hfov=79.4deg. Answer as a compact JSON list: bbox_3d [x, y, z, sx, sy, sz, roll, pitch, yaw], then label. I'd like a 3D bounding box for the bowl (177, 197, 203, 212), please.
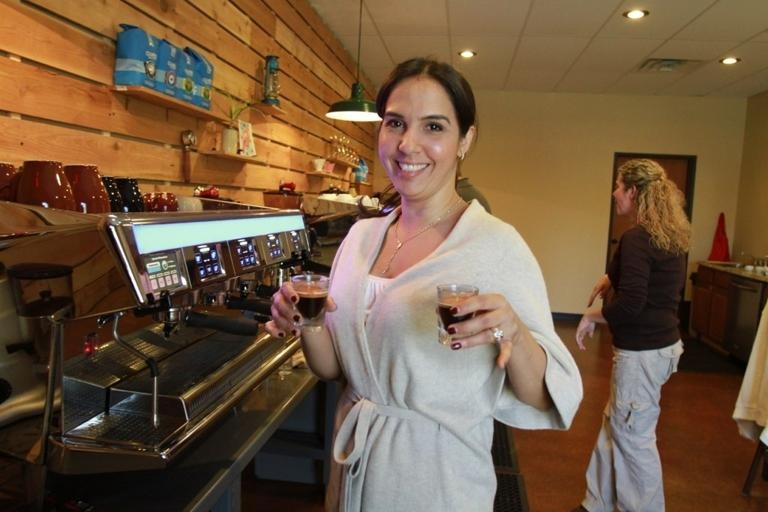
[{"bbox_3d":[-0.765,-0.202,1.811,0.066,0.057,0.088,2,1,13],"label":"bowl"}]

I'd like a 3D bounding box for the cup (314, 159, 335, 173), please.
[{"bbox_3d":[-0.621,-0.908,4.664,0.152,0.072,0.223,-2,-4,25],"label":"cup"}]

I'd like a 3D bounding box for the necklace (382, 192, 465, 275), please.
[{"bbox_3d":[0.147,-0.108,1.539,0.135,0.401,0.027,41,-5,14],"label":"necklace"}]

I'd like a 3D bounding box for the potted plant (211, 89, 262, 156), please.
[{"bbox_3d":[-1.014,-0.920,3.179,0.342,0.443,0.324,1,4,2],"label":"potted plant"}]

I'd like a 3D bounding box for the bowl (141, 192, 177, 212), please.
[{"bbox_3d":[-0.822,-0.198,1.700,0.115,0.061,0.189,-2,9,-23],"label":"bowl"}]

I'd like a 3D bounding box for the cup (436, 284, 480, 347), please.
[{"bbox_3d":[0.204,0.160,1.239,0.138,0.151,0.130,6,-3,0],"label":"cup"}]

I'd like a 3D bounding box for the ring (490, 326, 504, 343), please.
[{"bbox_3d":[0.279,0.192,1.152,0.034,0.033,0.008,42,19,-17],"label":"ring"}]
